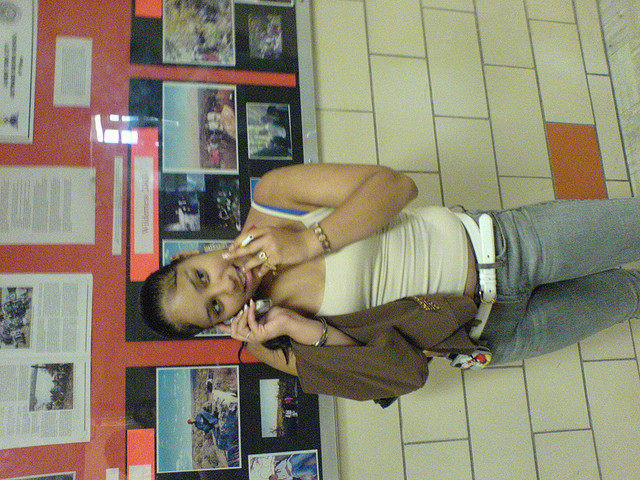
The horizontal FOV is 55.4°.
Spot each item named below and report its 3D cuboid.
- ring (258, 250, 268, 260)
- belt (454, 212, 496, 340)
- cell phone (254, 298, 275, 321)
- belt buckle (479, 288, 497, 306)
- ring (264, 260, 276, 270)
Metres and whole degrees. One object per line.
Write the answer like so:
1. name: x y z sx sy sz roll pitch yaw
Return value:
1. ring: -0.195 0.049 2.067 0.025 0.025 0.027 -2 110 -6
2. belt: 0.576 0.108 2.181 0.088 0.264 0.339 -1 83 -10
3. cell phone: -0.201 0.244 2.130 0.075 0.025 0.046 -35 109 -2
4. belt buckle: 0.587 0.207 2.167 0.072 0.021 0.046 24 77 0
5. ring: -0.173 0.088 2.075 0.029 0.028 0.012 19 58 33
